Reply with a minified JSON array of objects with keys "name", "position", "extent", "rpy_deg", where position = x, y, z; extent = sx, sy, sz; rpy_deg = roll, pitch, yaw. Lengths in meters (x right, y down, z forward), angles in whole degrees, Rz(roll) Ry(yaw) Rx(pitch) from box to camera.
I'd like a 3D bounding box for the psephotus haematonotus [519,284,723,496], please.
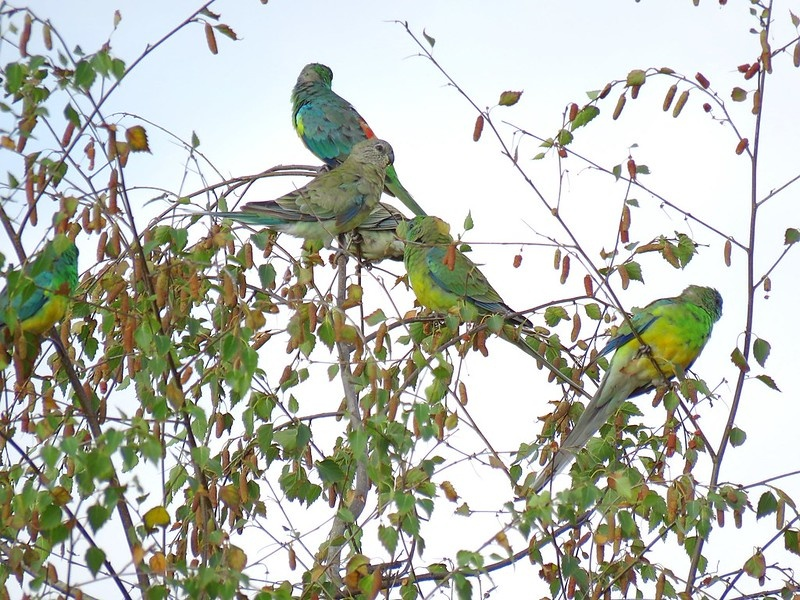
[{"name":"psephotus haematonotus","position":[0.912,0.434,4.791],"extent":[1.303,0.353,0.611],"rpy_deg":[-26,-74,-26]}]
